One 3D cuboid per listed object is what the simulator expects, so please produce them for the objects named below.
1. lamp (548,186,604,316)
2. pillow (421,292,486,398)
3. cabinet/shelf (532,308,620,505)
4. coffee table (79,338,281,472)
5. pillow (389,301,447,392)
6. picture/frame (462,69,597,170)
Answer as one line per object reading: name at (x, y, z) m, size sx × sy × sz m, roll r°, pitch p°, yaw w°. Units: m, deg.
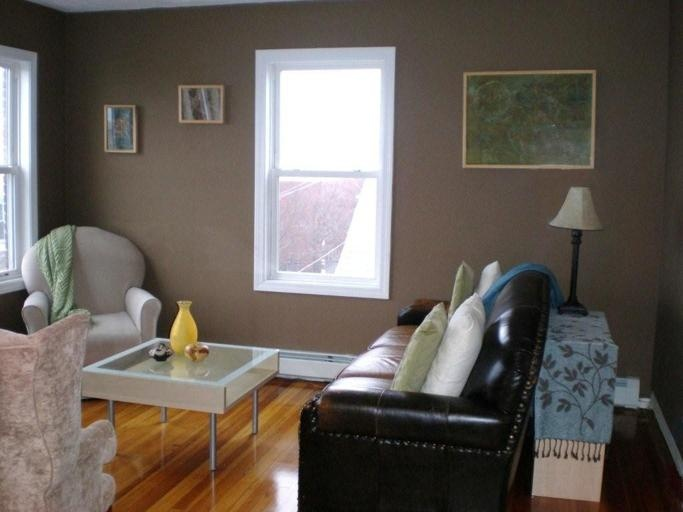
lamp at (1.513, -0.047, 3.770) m, size 0.307 × 0.775 × 0.426 m, roll 6°, pitch 12°, yaw 25°
pillow at (0.549, 0.382, 2.989) m, size 0.297 × 0.559 × 0.621 m, roll -7°, pitch -13°, yaw 0°
cabinet/shelf at (1.248, 0.838, 3.119) m, size 0.332 × 0.852 × 0.895 m, roll 2°, pitch 9°, yaw 14°
coffee table at (-0.975, 0.733, 3.516) m, size 0.762 × 0.464 × 0.814 m, roll 3°, pitch 6°, yaw 18°
pillow at (0.415, 0.469, 3.023) m, size 0.283 × 0.605 × 0.651 m, roll 0°, pitch -2°, yaw 13°
picture/frame at (1.382, -1.005, 4.258) m, size 0.948 × 0.746 × 0.028 m, roll 2°, pitch -9°, yaw 7°
